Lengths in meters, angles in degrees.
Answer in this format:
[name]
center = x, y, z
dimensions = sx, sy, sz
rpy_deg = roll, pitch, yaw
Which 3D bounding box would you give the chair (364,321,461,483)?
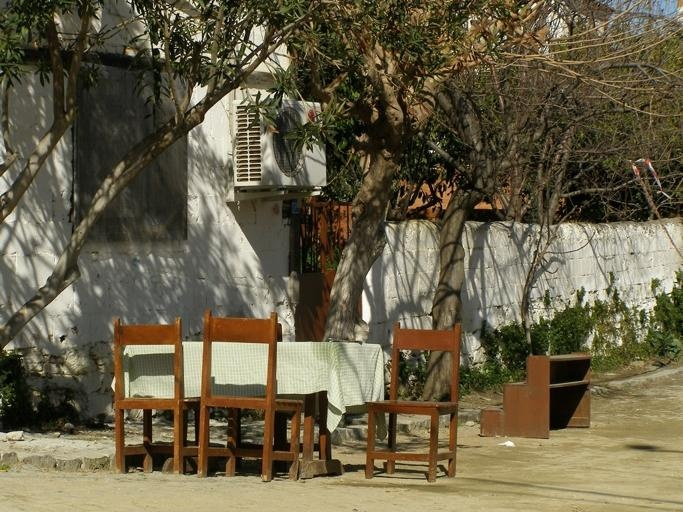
[chair]
center = 0.899, 1.745, 13.719
dimensions = 0.951, 2.037, 1.015
rpy_deg = 0, 0, 12

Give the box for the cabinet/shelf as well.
[cabinet/shelf]
center = 2.804, 2.032, 16.465
dimensions = 1.334, 1.360, 1.182
rpy_deg = 1, 0, 40

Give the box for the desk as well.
[desk]
center = -0.716, 1.312, 13.605
dimensions = 1.959, 0.926, 1.738
rpy_deg = -2, -10, 21
